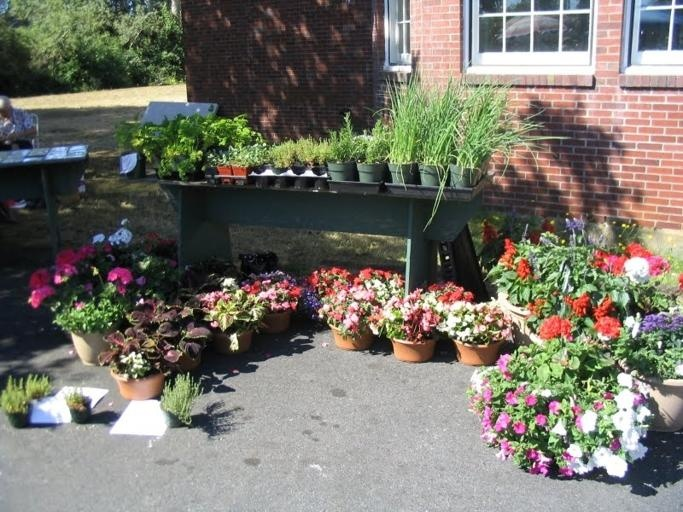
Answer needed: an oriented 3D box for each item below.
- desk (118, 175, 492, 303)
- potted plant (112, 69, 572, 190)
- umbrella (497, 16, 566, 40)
[{"bbox_3d":[-0.380,-0.169,5.352,2.738,1.225,1.032,5,15,17],"label":"desk"},{"bbox_3d":[-0.131,-1.206,5.282,3.345,0.892,1.776,1,25,5],"label":"potted plant"},{"bbox_3d":[2.223,-2.666,6.517,0.631,0.269,0.145,8,23,19],"label":"umbrella"}]
